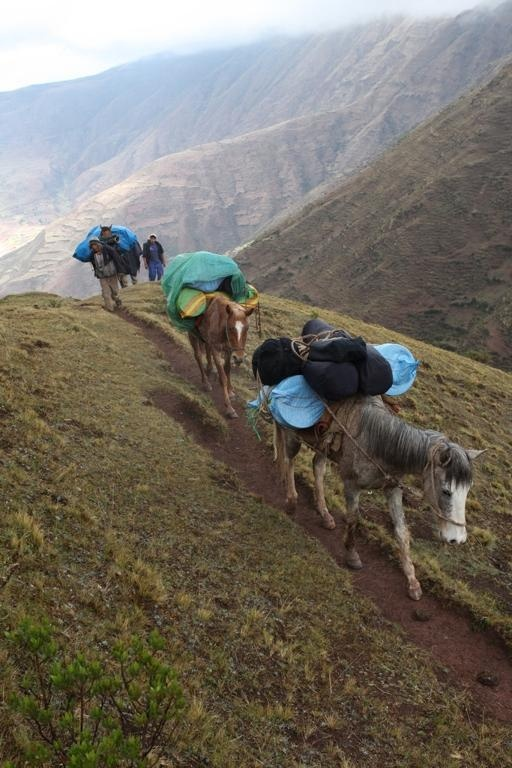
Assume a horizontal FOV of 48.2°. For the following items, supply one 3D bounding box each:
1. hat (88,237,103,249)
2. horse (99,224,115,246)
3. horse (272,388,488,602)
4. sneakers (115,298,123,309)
[{"bbox_3d":[-4.809,-4.253,17.179,0.281,0.286,0.371,-9,2,-5],"label":"hat"},{"bbox_3d":[-4.827,-4.849,18.603,0.578,0.790,0.332,-8,-8,-8],"label":"horse"},{"bbox_3d":[1.858,1.702,8.246,1.049,2.809,2.916,-30,26,-37],"label":"horse"},{"bbox_3d":[-4.851,-2.860,20.264,0.137,0.279,0.516,-13,14,-14],"label":"sneakers"}]
